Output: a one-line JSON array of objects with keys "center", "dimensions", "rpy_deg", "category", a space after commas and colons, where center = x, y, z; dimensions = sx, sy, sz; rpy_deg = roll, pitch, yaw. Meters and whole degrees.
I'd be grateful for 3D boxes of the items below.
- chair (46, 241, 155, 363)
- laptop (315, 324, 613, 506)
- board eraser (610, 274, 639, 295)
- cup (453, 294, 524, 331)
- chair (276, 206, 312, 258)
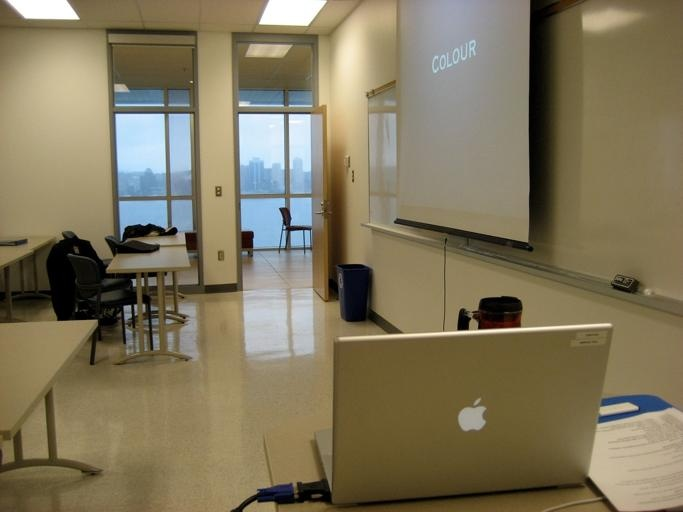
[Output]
[{"center": [-2.355, 0.443, 5.347], "dimensions": [1.001, 1.643, 1.083], "rpy_deg": [-4, 7, -27], "category": "chair"}, {"center": [0.323, 0.385, 1.357], "dimensions": [0.631, 0.465, 0.480], "rpy_deg": [-1, 7, -9], "category": "laptop"}, {"center": [1.237, 0.116, 2.359], "dimensions": [0.080, 0.071, 0.094], "rpy_deg": [-6, 18, -32], "category": "board eraser"}, {"center": [0.496, 0.182, 1.838], "dimensions": [0.129, 0.115, 0.193], "rpy_deg": [1, -4, -24], "category": "cup"}, {"center": [-1.097, -0.596, 11.365], "dimensions": [0.872, 1.323, 0.733], "rpy_deg": [0, 5, 8], "category": "chair"}]
